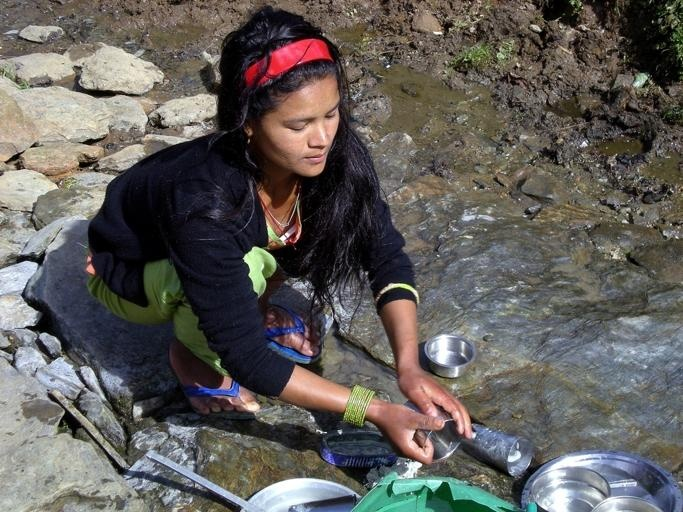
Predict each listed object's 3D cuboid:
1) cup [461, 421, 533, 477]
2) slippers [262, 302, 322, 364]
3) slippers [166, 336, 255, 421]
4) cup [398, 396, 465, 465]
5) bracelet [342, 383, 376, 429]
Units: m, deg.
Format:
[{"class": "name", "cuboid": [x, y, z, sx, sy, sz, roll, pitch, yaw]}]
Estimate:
[{"class": "cup", "cuboid": [0.715, 0.904, 3.033, 0.334, 0.122, 0.134, 19, -7, 44]}, {"class": "slippers", "cuboid": [-0.296, 0.443, 3.583, 0.464, 0.167, 0.118, 26, -18, -9]}, {"class": "slippers", "cuboid": [-0.674, 0.631, 3.347, 0.539, 0.230, 0.132, 46, 1, -4]}, {"class": "cup", "cuboid": [0.368, 0.738, 2.818, 0.263, 0.238, 0.263, 35, 15, -10]}, {"class": "bracelet", "cuboid": [0.074, 0.639, 2.807, 0.112, 0.165, 0.116, 7, 23, 8]}]
